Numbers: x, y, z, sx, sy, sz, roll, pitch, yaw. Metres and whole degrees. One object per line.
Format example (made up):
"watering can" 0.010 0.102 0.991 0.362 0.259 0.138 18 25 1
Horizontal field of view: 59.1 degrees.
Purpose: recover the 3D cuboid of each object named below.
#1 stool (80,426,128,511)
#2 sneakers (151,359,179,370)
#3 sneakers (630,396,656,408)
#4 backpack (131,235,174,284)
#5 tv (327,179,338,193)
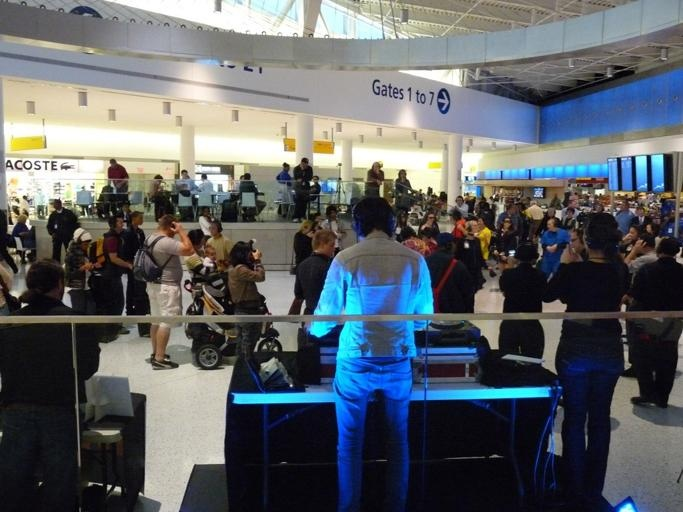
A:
"stool" -1.547 1.388 4.046 0.214 0.344 0.225 -15 -14 13
"sneakers" -1.164 0.702 3.906 0.208 0.088 0.073 1 0 -10
"sneakers" 2.072 1.007 4.170 0.175 0.080 0.060 -1 3 2
"backpack" -2.256 0.036 7.140 0.351 0.595 0.402 13 -10 -40
"tv" -0.273 -1.868 16.073 0.347 0.345 0.321 0 -1 -19
